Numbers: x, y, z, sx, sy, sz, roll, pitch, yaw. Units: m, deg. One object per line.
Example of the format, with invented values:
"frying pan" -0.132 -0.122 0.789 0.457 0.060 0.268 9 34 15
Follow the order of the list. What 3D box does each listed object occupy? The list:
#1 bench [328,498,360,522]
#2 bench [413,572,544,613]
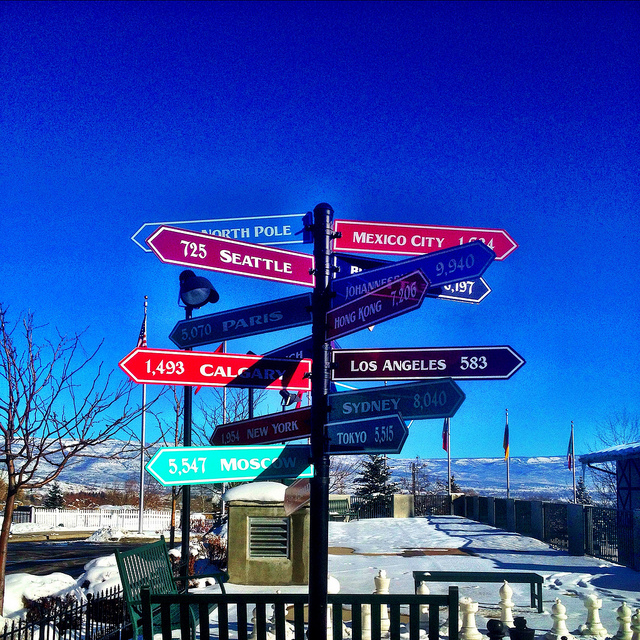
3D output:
"bench" 1.145 8.557 42.092 1.349 0.908 3.290 -2 -12 2
"bench" 2.415 3.755 12.764 1.315 0.440 0.368 -2 -10 9
